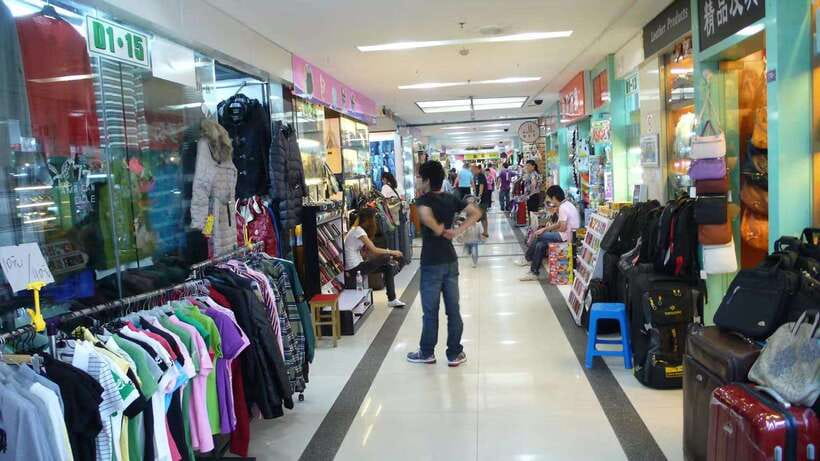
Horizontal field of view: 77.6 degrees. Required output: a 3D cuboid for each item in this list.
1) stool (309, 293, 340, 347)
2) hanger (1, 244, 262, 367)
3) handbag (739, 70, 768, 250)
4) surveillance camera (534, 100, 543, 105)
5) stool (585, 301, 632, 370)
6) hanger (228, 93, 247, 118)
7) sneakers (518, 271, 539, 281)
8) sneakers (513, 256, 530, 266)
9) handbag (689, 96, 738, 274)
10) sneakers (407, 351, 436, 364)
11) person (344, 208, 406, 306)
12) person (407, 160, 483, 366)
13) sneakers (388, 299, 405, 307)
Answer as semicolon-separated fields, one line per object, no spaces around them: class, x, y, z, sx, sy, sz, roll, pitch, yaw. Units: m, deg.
stool;-1.149;1.197;6.914;0.369;0.633;0.381;-4;8;-2
hanger;-2.311;0.579;4.380;0.354;0.453;2.000;3;10;41
handbag;4.006;-0.818;5.958;0.294;2.157;1.026;1;9;32
surveillance camera;3.653;-3.622;14.490;0.159;0.116;0.203;1;10;-1
stool;2.342;1.174;6.087;0.701;0.861;0.658;0;4;13
hanger;-2.160;-1.549;6.400;0.223;0.296;0.240;1;7;-3
sneakers;2.162;0.819;9.296;0.428;0.176;0.149;-1;5;3
sneakers;2.273;0.648;10.456;0.126;0.131;0.316;-5;-7;39
handbag;3.415;-0.348;5.831;0.432;1.806;0.560;-3;8;8
sneakers;0.141;1.553;6.299;0.334;0.138;0.143;5;3;12
person;-0.552;0.416;8.265;0.866;1.622;1.104;-3;8;8
person;0.341;0.403;6.067;0.863;2.433;0.525;-4;7;-4
sneakers;-0.212;1.164;8.257;0.303;0.125;0.101;0;3;8
